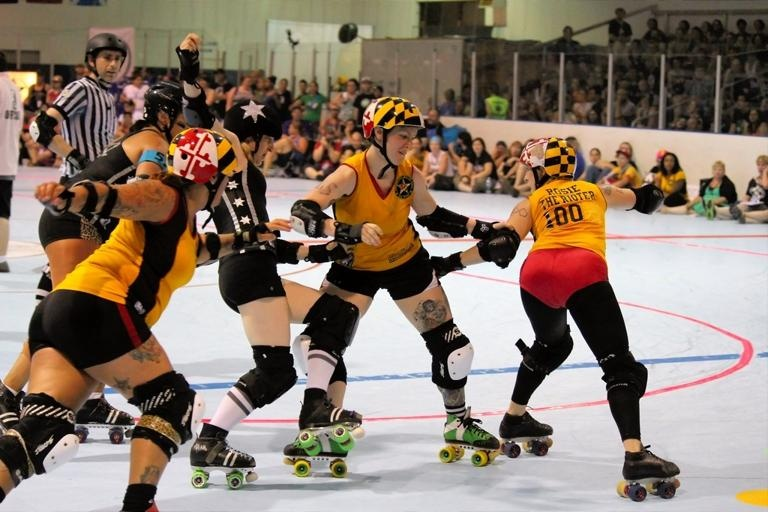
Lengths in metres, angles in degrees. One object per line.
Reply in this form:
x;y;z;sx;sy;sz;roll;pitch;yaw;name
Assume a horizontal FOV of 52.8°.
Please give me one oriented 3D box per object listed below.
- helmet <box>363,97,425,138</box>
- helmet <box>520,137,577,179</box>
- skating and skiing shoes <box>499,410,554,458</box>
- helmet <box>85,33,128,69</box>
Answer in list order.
0.058;-0.953;5.437;0.344;0.352;0.444;-14;23;-41;helmet
1.169;-0.688;5.537;0.401;0.288;0.314;-3;4;14;helmet
1.002;1.258;5.483;0.415;0.288;0.210;1;-2;-24;skating and skiing shoes
-2.365;-1.713;6.620;0.346;0.327;0.341;-4;15;-18;helmet
